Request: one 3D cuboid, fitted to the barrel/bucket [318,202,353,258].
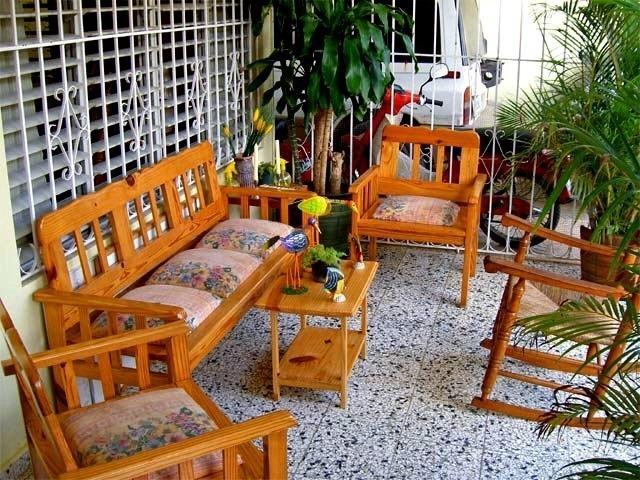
[{"bbox_3d":[0.154,-0.100,4.169,0.434,0.384,0.362,4,16,10],"label":"barrel/bucket"}]

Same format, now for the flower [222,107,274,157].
[{"bbox_3d":[-0.528,-0.801,3.637,0.324,0.322,0.209,0,7,3],"label":"flower"}]
